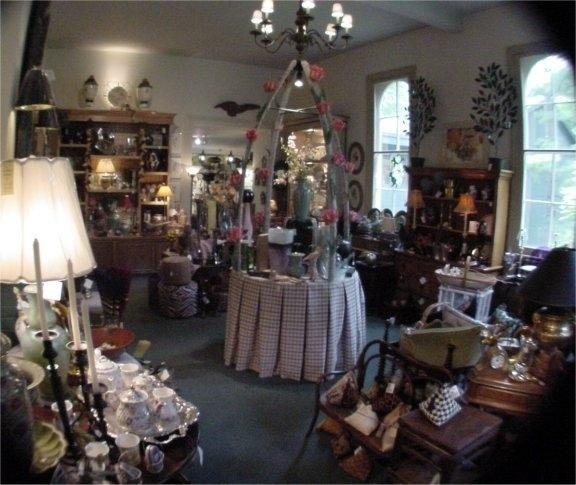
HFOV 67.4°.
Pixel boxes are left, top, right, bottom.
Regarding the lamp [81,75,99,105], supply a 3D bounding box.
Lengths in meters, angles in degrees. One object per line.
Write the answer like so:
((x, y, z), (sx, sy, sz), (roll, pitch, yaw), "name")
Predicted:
((-3.636, -2.773, 7.921), (0.292, 0.536, 0.323), (-4, 12, -25), "lamp")

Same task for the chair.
((0.637, 1.064, 3.261), (0.977, 0.916, 1.274), (4, 11, 15), "chair")

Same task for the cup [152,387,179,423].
((-0.630, 0.829, 2.197), (0.108, 0.159, 0.154), (-2, -5, 5), "cup")

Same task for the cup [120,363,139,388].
((-0.877, 0.748, 2.404), (0.073, 0.117, 0.118), (1, 2, 18), "cup")

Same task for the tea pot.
((-0.773, 0.797, 2.139), (0.190, 0.200, 0.197), (3, -2, 0), "tea pot")

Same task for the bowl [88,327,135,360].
((-1.197, 0.693, 2.902), (0.298, 0.110, 0.300), (-8, 6, 1), "bowl")

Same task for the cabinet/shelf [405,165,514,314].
((2.182, -0.153, 5.795), (0.593, 1.850, 1.364), (-5, 12, -27), "cabinet/shelf")

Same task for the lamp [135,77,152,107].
((-2.736, -2.796, 8.170), (0.282, 0.498, 0.326), (-3, 11, -22), "lamp")

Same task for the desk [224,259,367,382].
((0.035, 0.793, 4.041), (1.068, 0.696, 1.085), (2, 4, -11), "desk")
